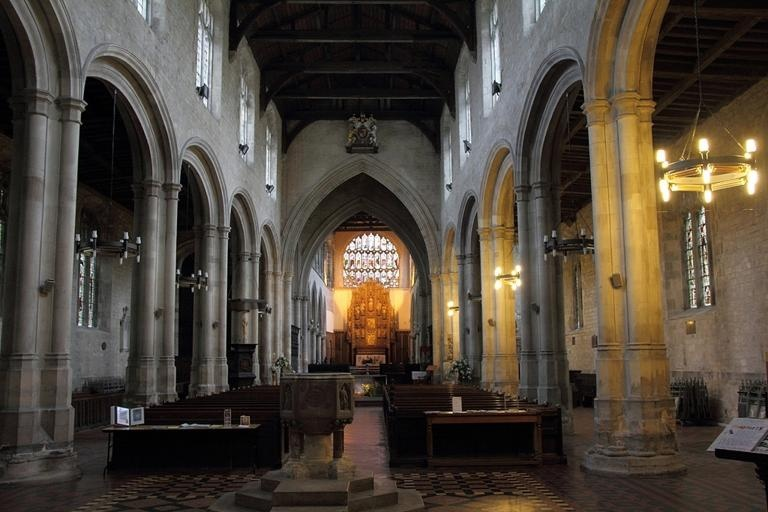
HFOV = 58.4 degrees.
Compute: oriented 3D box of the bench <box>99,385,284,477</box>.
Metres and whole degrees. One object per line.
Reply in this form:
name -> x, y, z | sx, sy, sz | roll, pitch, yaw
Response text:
bench -> -4.001, 3.910, 15.307 | 3.412, 1.540, 3.120 | 0, -14, -9
